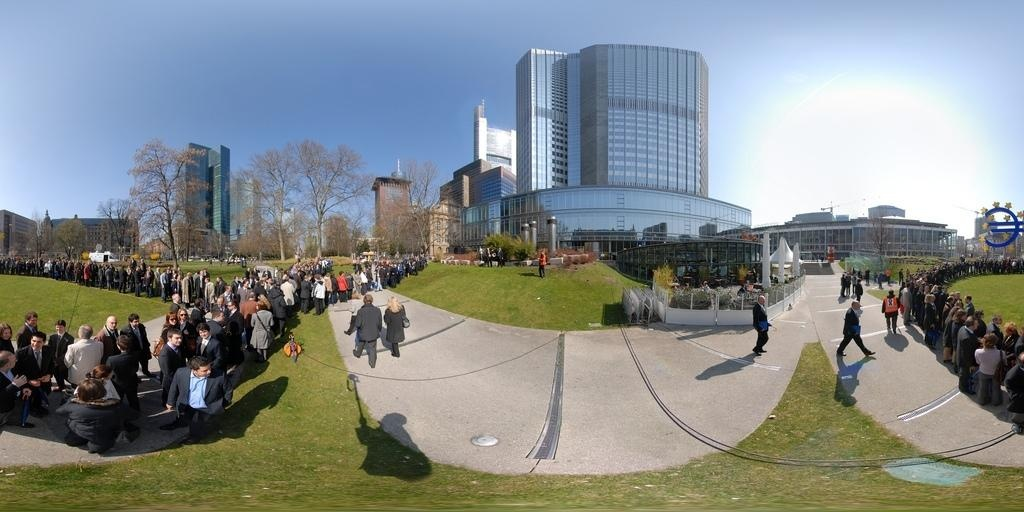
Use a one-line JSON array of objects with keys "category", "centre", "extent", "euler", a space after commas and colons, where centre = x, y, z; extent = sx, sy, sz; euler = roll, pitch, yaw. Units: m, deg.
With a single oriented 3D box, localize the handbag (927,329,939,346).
[{"category": "handbag", "centre": [36.273, 7.036, 56.710], "extent": [0.888, 1.822, 0.467], "euler": [0, -2, 27]}]
